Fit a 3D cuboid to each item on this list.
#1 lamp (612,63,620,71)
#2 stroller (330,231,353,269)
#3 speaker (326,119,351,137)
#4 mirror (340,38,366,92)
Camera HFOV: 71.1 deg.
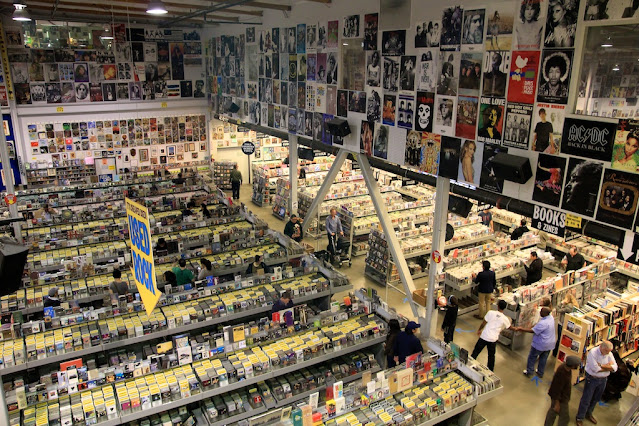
[{"bbox_3d":[6.032,-2.950,9.083,0.158,0.159,0.038,9,6,-2],"label":"lamp"},{"bbox_3d":[0.686,1.194,14.987,0.804,1.273,0.887,-3,10,-17],"label":"stroller"},{"bbox_3d":[0.574,-2.444,12.754,0.264,0.347,0.485,-33,36,-28],"label":"speaker"},{"bbox_3d":[0.941,-4.122,12.287,0.182,1.725,1.303,-7,15,-29],"label":"mirror"}]
